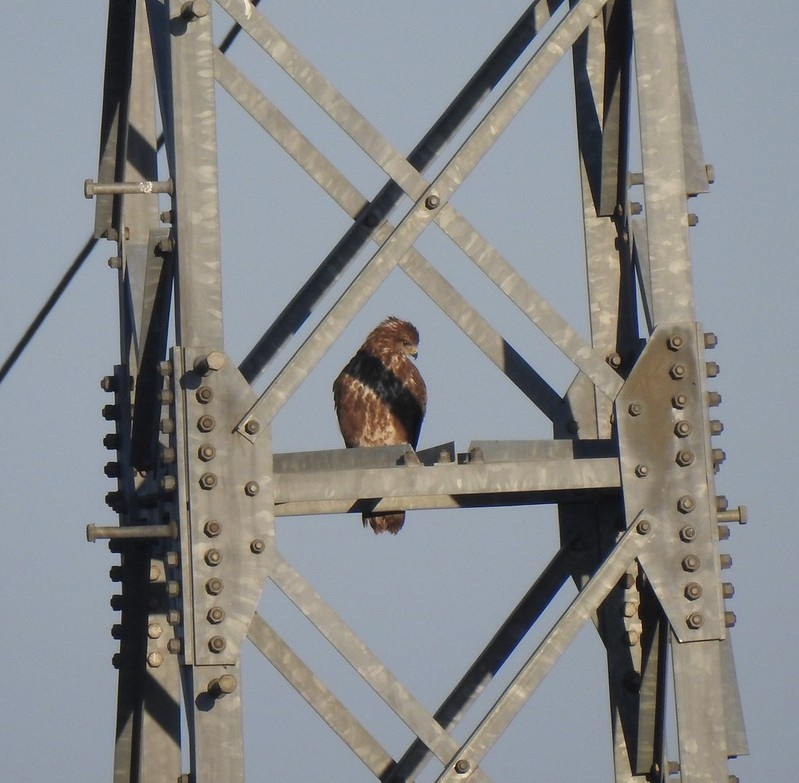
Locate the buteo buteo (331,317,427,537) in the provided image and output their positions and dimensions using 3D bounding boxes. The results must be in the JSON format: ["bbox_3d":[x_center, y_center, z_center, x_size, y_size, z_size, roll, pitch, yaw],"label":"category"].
[{"bbox_3d":[-0.054,-0.029,14.604,0.410,0.661,0.648,11,-79,-1],"label":"buteo buteo"}]
